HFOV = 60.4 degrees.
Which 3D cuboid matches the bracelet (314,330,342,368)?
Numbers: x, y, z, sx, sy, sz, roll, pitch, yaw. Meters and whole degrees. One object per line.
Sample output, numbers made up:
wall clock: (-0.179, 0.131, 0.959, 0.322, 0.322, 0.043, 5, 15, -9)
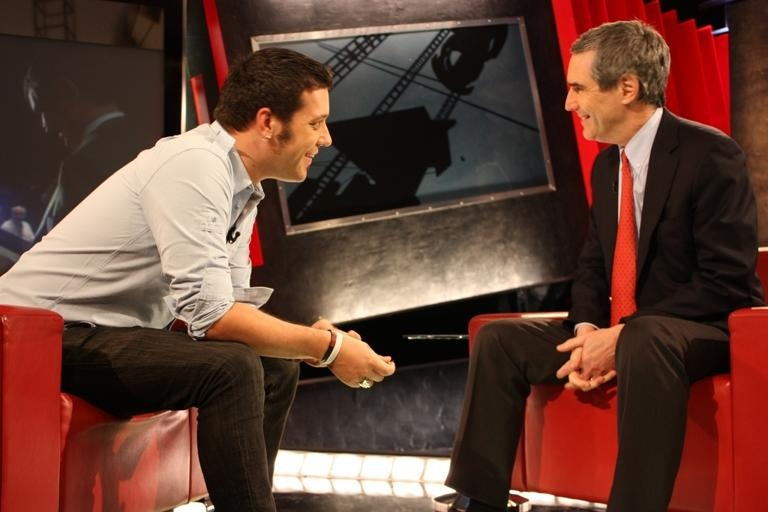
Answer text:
bracelet: (-0.183, 0.287, 2.038, 0.037, 0.088, 0.100, 24, -33, -11)
